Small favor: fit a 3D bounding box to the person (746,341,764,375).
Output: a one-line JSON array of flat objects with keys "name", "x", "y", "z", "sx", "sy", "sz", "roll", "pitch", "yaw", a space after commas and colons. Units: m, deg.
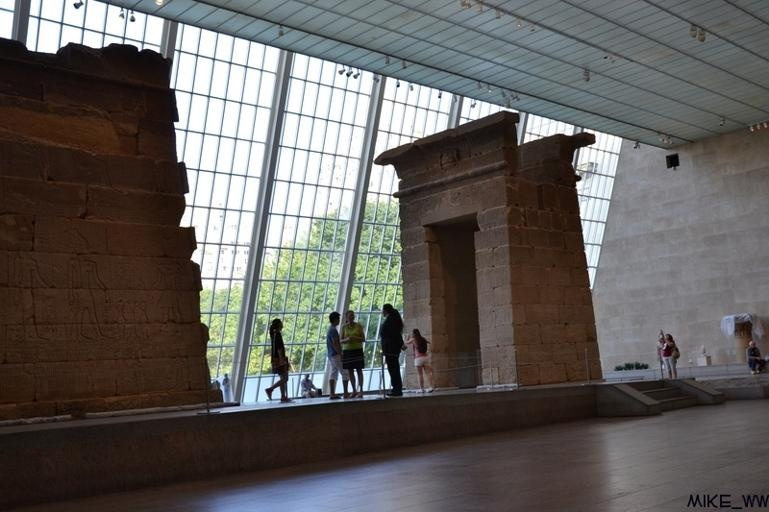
[{"name": "person", "x": 16.661, "y": 4.512, "z": 25.337, "sx": 0.654, "sy": 1.327, "sz": 1.901, "roll": -11, "pitch": -13, "yaw": 31}]
